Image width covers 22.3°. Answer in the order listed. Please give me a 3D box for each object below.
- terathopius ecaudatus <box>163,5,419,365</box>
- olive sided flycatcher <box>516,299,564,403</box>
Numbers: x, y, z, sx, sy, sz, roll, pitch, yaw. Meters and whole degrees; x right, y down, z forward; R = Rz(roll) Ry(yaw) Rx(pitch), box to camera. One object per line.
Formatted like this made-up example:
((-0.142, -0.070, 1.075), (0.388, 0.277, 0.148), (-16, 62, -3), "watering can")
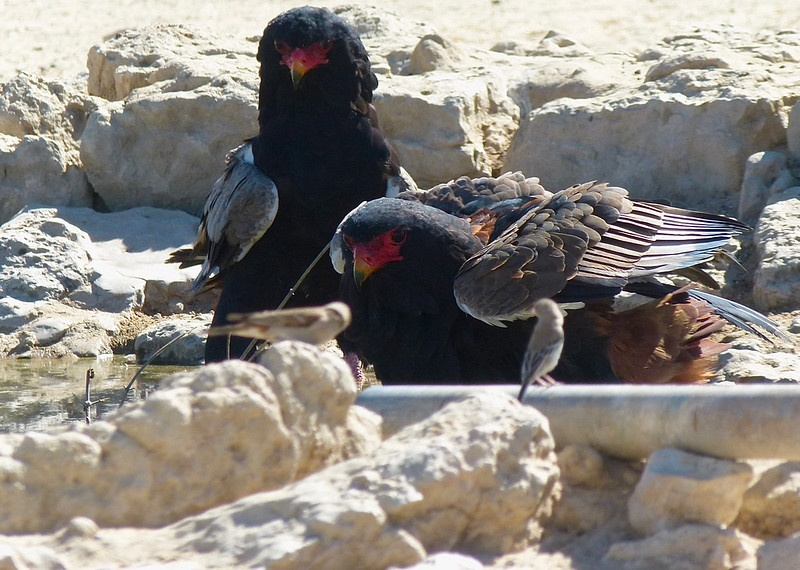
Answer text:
((-1.070, -1.190, 22.469), (2.473, 3.775, 2.694), (-1, 23, -8), "terathopius ecaudatus")
((1.448, 0.658, 20.209), (0.367, 1.088, 0.303), (9, 29, 11), "olive sided flycatcher")
